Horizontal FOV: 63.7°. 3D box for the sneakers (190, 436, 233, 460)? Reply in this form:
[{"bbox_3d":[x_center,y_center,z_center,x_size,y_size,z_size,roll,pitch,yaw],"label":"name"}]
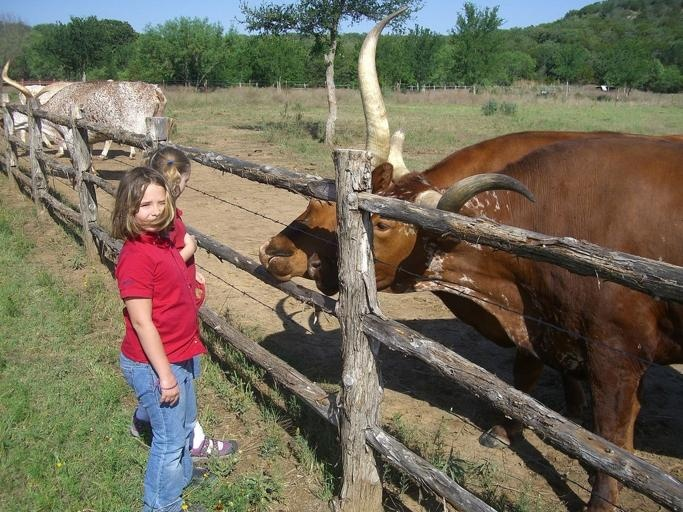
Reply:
[{"bbox_3d":[-0.899,1.344,3.860,0.301,0.141,0.124,-8,5,-13],"label":"sneakers"}]
